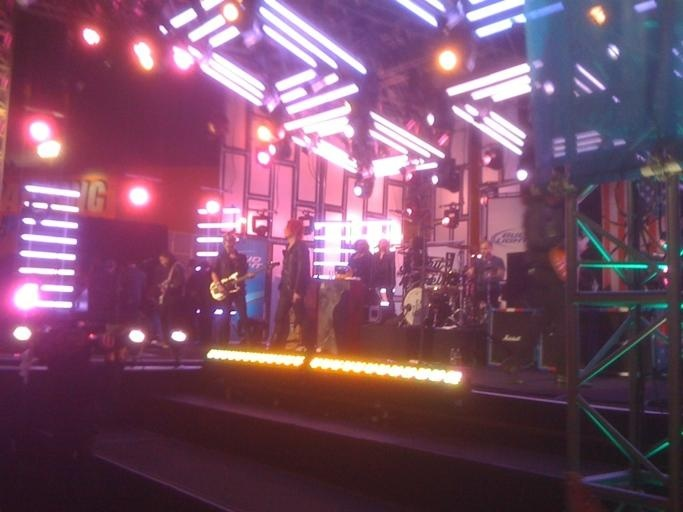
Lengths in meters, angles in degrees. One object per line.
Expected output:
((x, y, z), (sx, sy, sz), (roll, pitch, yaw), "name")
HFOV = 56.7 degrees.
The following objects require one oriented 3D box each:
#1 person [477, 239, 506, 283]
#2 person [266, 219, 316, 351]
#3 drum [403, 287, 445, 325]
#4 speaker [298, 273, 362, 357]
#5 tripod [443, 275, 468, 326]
((2.672, 0.041, 11.293), (0.419, 0.797, 0.761), (1, -7, 12), "person")
((-0.684, 0.401, 9.193), (0.564, 1.872, 0.438), (3, -6, -7), "person")
((1.256, 0.771, 9.986), (0.580, 0.671, 1.745), (1, -8, 16), "drum")
((-0.034, 0.765, 10.106), (0.822, 1.493, 0.812), (-2, 28, -8), "speaker")
((2.028, 0.728, 11.169), (0.391, 0.929, 0.939), (2, -7, 11), "tripod")
